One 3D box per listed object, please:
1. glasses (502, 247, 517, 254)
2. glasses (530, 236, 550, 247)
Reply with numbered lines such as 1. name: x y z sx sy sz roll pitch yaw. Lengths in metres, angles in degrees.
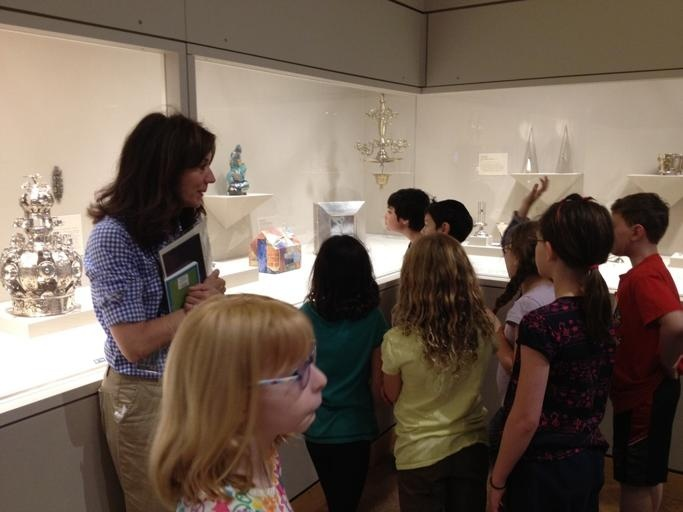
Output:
1. glasses: 0.907 -0.029 2.686 0.036 0.030 0.038 -2 9 8
2. glasses: 0.757 -0.062 1.902 0.060 0.021 0.063 -4 12 -35
